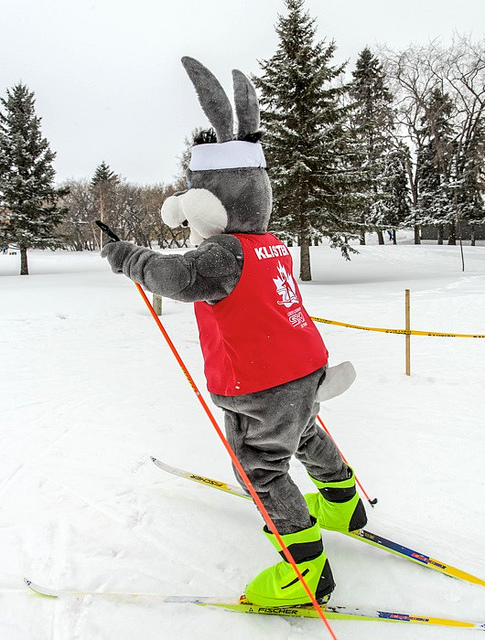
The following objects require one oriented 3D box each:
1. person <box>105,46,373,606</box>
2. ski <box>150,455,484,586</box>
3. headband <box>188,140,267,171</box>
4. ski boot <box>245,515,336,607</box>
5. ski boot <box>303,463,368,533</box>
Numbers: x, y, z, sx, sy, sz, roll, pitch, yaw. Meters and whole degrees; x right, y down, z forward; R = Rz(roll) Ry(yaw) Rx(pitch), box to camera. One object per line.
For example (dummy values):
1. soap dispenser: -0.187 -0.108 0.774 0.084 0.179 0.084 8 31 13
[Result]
1. person: 0.061 0.059 2.736 1.105 2.573 0.705 -10 9 -40
2. ski: 0.415 1.135 3.178 2.001 0.206 0.159 19 -24 32
3. headband: -0.074 -0.788 2.760 0.384 0.153 0.216 -4 7 -2
4. ski boot: 0.203 1.169 2.777 0.439 0.362 0.180 -4 -1 7
5. ski boot: 0.476 0.994 3.278 0.196 0.325 0.479 -16 8 -33
